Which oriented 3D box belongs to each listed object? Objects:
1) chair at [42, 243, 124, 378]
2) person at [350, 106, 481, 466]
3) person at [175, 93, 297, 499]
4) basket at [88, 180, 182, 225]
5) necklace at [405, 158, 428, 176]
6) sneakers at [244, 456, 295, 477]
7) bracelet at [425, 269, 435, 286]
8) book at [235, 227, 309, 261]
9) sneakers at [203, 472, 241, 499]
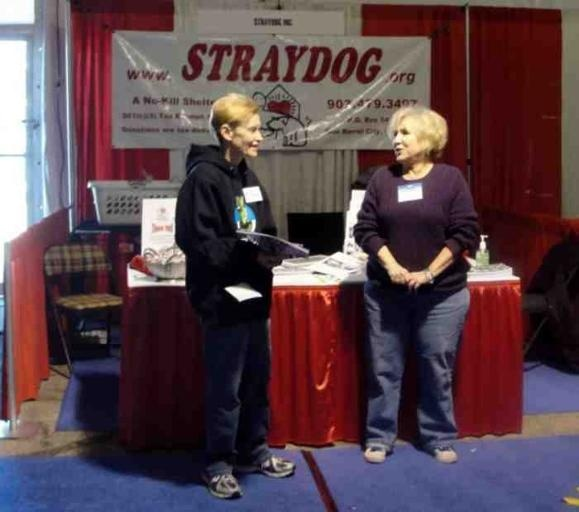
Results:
[{"bbox_3d":[-1.382,0.320,4.844,0.607,0.875,0.664,-2,4,-6],"label":"chair"},{"bbox_3d":[0.613,0.144,3.453,0.588,1.722,0.382,1,11,5],"label":"person"},{"bbox_3d":[-0.237,0.193,3.123,0.503,1.788,0.348,-1,11,-4],"label":"person"},{"bbox_3d":[-1.122,-0.347,5.041,0.500,0.234,0.364,0,2,-5],"label":"basket"},{"bbox_3d":[0.622,-0.433,3.405,0.090,0.075,0.078,-4,11,2],"label":"necklace"},{"bbox_3d":[-0.092,0.978,3.322,0.221,0.110,0.105,-1,5,-1],"label":"sneakers"},{"bbox_3d":[0.674,0.098,3.301,0.058,0.069,0.065,3,-4,-45],"label":"bracelet"},{"bbox_3d":[-0.075,-0.047,2.910,0.165,0.058,0.165,14,5,-33],"label":"book"},{"bbox_3d":[-0.294,1.038,3.156,0.078,0.082,0.167,6,-10,-33],"label":"sneakers"}]
